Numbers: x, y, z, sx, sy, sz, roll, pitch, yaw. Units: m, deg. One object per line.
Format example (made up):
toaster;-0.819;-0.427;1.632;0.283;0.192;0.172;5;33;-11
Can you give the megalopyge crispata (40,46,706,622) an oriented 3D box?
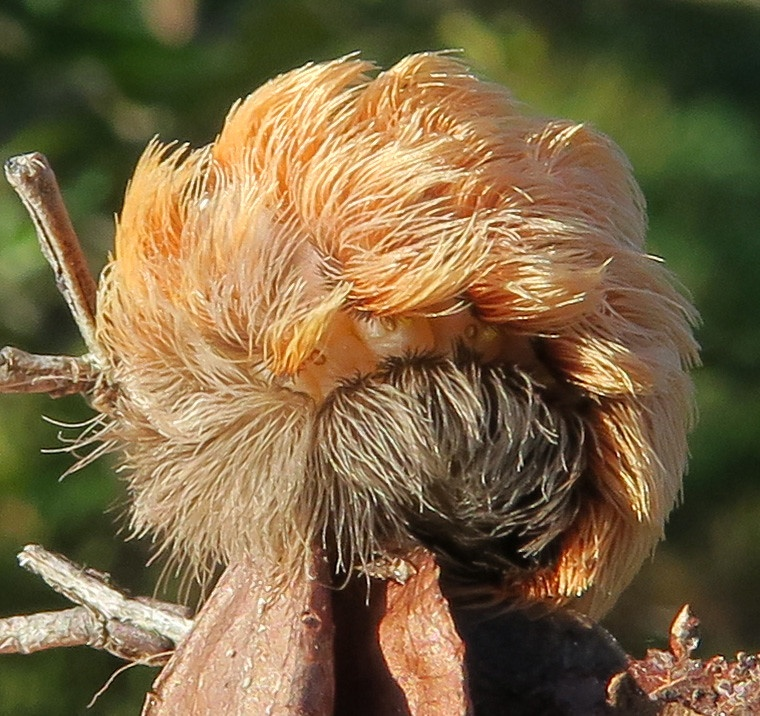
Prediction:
megalopyge crispata;0.058;-0.005;0.900;0.525;0.344;0.291;6;81;-6
